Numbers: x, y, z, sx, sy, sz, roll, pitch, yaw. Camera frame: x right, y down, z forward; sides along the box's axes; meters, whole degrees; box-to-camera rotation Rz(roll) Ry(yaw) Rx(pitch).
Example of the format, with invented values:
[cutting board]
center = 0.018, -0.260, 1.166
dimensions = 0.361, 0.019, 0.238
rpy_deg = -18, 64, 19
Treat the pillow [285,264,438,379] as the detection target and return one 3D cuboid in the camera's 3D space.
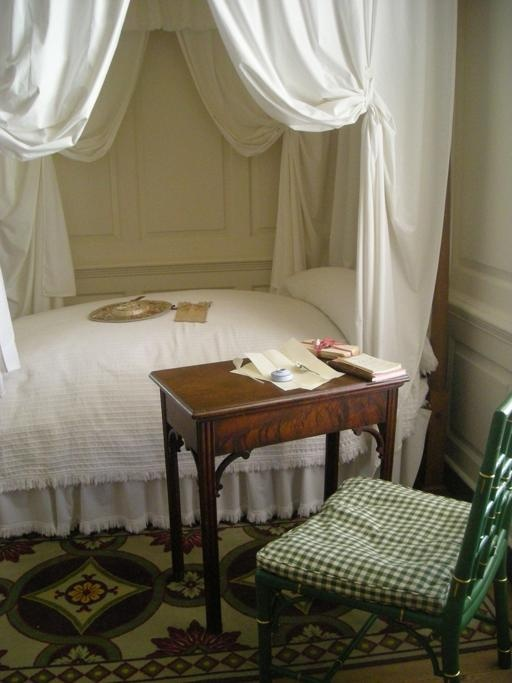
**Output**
[pillow]
center = 0.381, -0.160, 2.520
dimensions = 0.388, 0.181, 0.638
rpy_deg = -4, 20, -10
